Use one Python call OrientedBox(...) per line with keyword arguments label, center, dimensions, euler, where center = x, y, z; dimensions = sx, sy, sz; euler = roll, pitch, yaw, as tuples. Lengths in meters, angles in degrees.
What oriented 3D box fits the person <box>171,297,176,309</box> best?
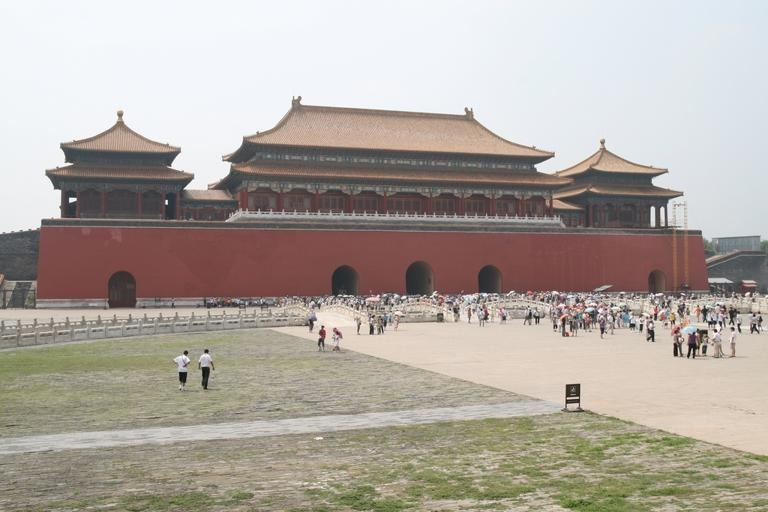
OrientedBox(label="person", center=(-10.634, 2.373, 52.350), dimensions=(0.281, 0.675, 0.252), euler=(-3, -26, 3))
